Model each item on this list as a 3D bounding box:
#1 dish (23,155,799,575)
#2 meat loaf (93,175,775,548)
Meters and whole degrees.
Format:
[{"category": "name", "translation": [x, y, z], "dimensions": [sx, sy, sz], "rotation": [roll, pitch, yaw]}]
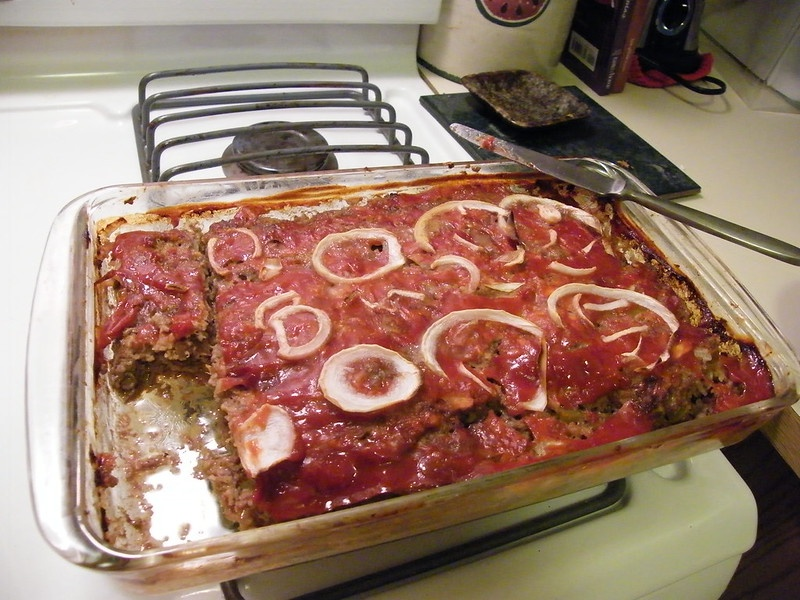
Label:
[{"category": "dish", "translation": [0.003, 0.055, 1.694], "dimensions": [1.736, 0.315, 1.015], "rotation": [-11, 53, -11]}, {"category": "meat loaf", "translation": [0.063, 0.130, 1.737], "dimensions": [1.604, 0.181, 0.792], "rotation": [-10, 52, -16]}]
